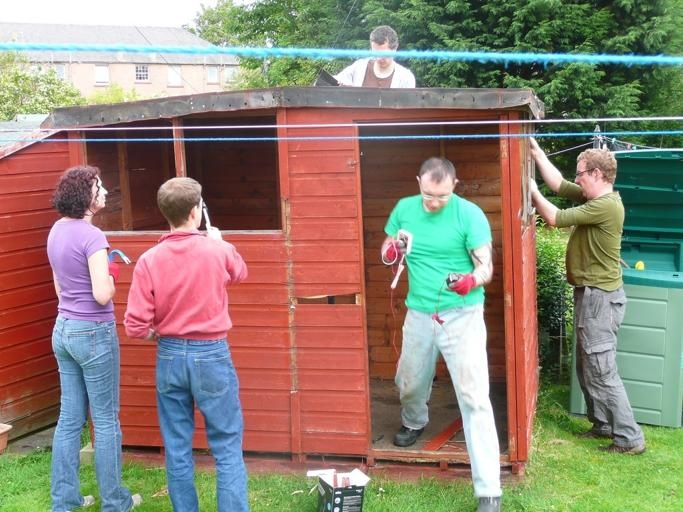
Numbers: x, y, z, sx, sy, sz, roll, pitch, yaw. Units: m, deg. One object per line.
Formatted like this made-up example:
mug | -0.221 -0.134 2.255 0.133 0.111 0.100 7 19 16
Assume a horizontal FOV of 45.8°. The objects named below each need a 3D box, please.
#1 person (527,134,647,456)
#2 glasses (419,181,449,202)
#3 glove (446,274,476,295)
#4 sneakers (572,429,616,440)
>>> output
person | 2.352 0.383 7.538 0.850 2.808 0.718 -2 5 19
glasses | 0.768 -0.520 6.561 0.239 0.168 0.127 -3 5 5
glove | 0.962 0.208 6.453 0.206 0.188 0.155 11 11 11
sneakers | 2.401 1.680 7.630 0.336 0.124 0.113 -5 -3 20
